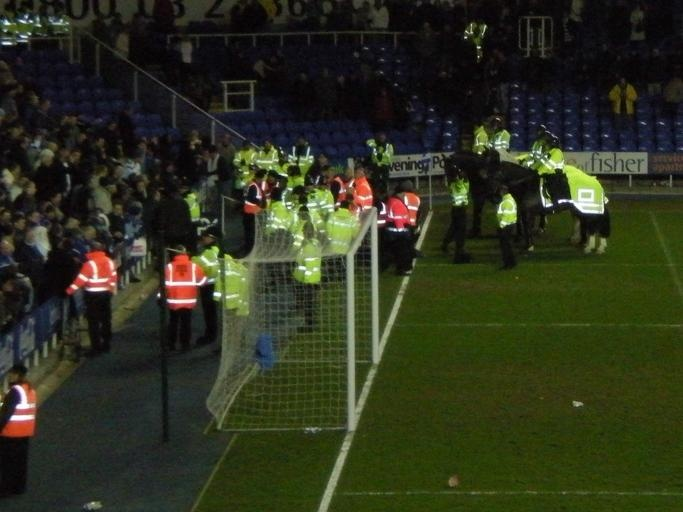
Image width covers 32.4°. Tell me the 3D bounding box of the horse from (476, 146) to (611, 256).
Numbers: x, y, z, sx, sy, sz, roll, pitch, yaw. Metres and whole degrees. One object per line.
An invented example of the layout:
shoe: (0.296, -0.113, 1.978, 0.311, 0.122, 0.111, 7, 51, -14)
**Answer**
horse: (5.457, -1.402, 31.217, 3.915, 2.308, 1.052, -2, 7, -21)

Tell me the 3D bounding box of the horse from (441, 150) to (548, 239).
horse: (4.544, -2.148, 32.434, 1.046, 2.401, 3.730, 8, -11, -9)
